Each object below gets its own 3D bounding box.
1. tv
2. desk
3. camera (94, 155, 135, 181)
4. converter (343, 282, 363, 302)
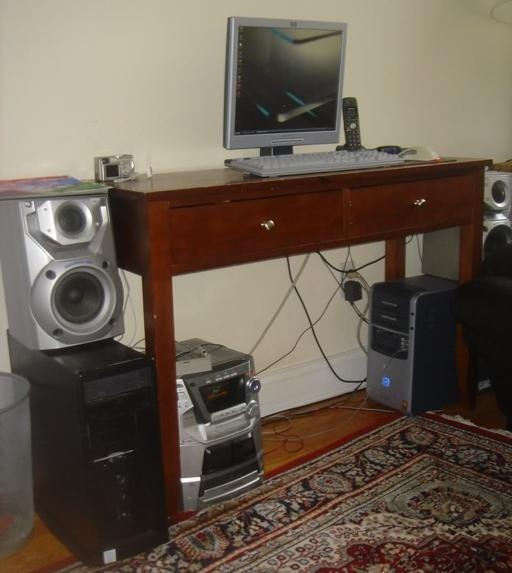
[{"bbox_3d":[0.076,-0.573,1.483,0.444,0.383,0.127,-10,22,-35],"label":"tv"},{"bbox_3d":[0.148,0.018,1.614,1.192,0.696,0.399,-12,17,-33],"label":"desk"},{"bbox_3d":[-0.363,-0.303,1.337,0.069,0.046,0.037,-16,26,-39],"label":"camera"},{"bbox_3d":[0.374,0.018,2.055,0.054,0.091,0.074,2,10,44],"label":"converter"}]
